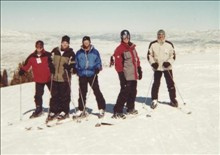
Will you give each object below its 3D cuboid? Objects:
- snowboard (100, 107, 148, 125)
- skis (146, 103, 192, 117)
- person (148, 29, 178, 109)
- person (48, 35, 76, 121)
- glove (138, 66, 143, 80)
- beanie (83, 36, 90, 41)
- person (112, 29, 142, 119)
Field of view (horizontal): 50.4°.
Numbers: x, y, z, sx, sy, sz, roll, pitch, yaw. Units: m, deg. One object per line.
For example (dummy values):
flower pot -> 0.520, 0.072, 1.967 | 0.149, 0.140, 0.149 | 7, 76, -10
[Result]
snowboard -> 0.659, 1.408, 8.370 | 2.004, 0.206, 0.587 | -5, 9, -41
skis -> 2.203, 1.240, 8.746 | 1.737, 0.196, 0.255 | -3, -29, -5
person -> 1.971, -0.278, 8.768 | 1.063, 2.956, 0.594 | -2, 11, 9
person -> -1.697, 0.028, 8.184 | 1.121, 2.917, 0.489 | -6, 11, -11
glove -> 1.031, -0.131, 8.097 | 0.137, 0.472, 0.319 | -2, 11, 7
beanie -> -0.786, -1.293, 7.747 | 0.229, 0.164, 0.087 | -5, 11, -7
person -> 0.548, -0.080, 8.016 | 1.045, 3.035, 0.531 | -8, 12, -22
